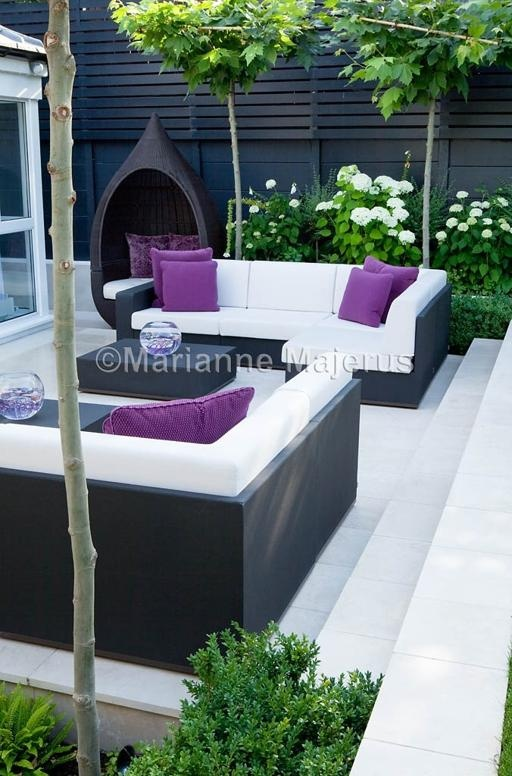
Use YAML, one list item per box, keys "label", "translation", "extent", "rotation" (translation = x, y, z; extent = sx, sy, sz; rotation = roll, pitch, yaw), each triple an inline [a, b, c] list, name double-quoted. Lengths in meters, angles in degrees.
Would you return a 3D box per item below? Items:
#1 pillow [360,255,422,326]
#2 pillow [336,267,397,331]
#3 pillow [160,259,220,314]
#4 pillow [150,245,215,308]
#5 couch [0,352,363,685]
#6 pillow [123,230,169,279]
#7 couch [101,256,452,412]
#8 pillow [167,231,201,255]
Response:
- label: "pillow"
  translation: [1.059, -0.806, 5.132]
  extent: [0.488, 0.534, 0.257]
  rotation: [7, 14, 37]
- label: "pillow"
  translation: [0.894, -0.760, 5.160]
  extent: [0.247, 0.408, 0.466]
  rotation: [-18, 26, -31]
- label: "pillow"
  translation: [-0.607, -0.933, 5.788]
  extent: [0.549, 0.512, 0.187]
  rotation: [-1, -1, -5]
- label: "pillow"
  translation: [-0.672, -1.012, 5.795]
  extent: [0.768, 0.735, 0.265]
  rotation: [-1, 0, -12]
- label: "couch"
  translation: [-0.239, 0.396, 2.348]
  extent: [0.857, 0.748, 1.124]
  rotation: [3, 11, 21]
- label: "pillow"
  translation: [-1.289, -1.547, 7.209]
  extent: [0.506, 0.506, 0.170]
  rotation: [-2, 3, -2]
- label: "couch"
  translation: [0.372, -0.555, 5.285]
  extent: [2.655, 0.946, 1.428]
  rotation: [5, 19, 19]
- label: "pillow"
  translation: [-0.813, -1.670, 7.220]
  extent: [0.342, 0.326, 0.102]
  rotation: [3, -8, 4]
